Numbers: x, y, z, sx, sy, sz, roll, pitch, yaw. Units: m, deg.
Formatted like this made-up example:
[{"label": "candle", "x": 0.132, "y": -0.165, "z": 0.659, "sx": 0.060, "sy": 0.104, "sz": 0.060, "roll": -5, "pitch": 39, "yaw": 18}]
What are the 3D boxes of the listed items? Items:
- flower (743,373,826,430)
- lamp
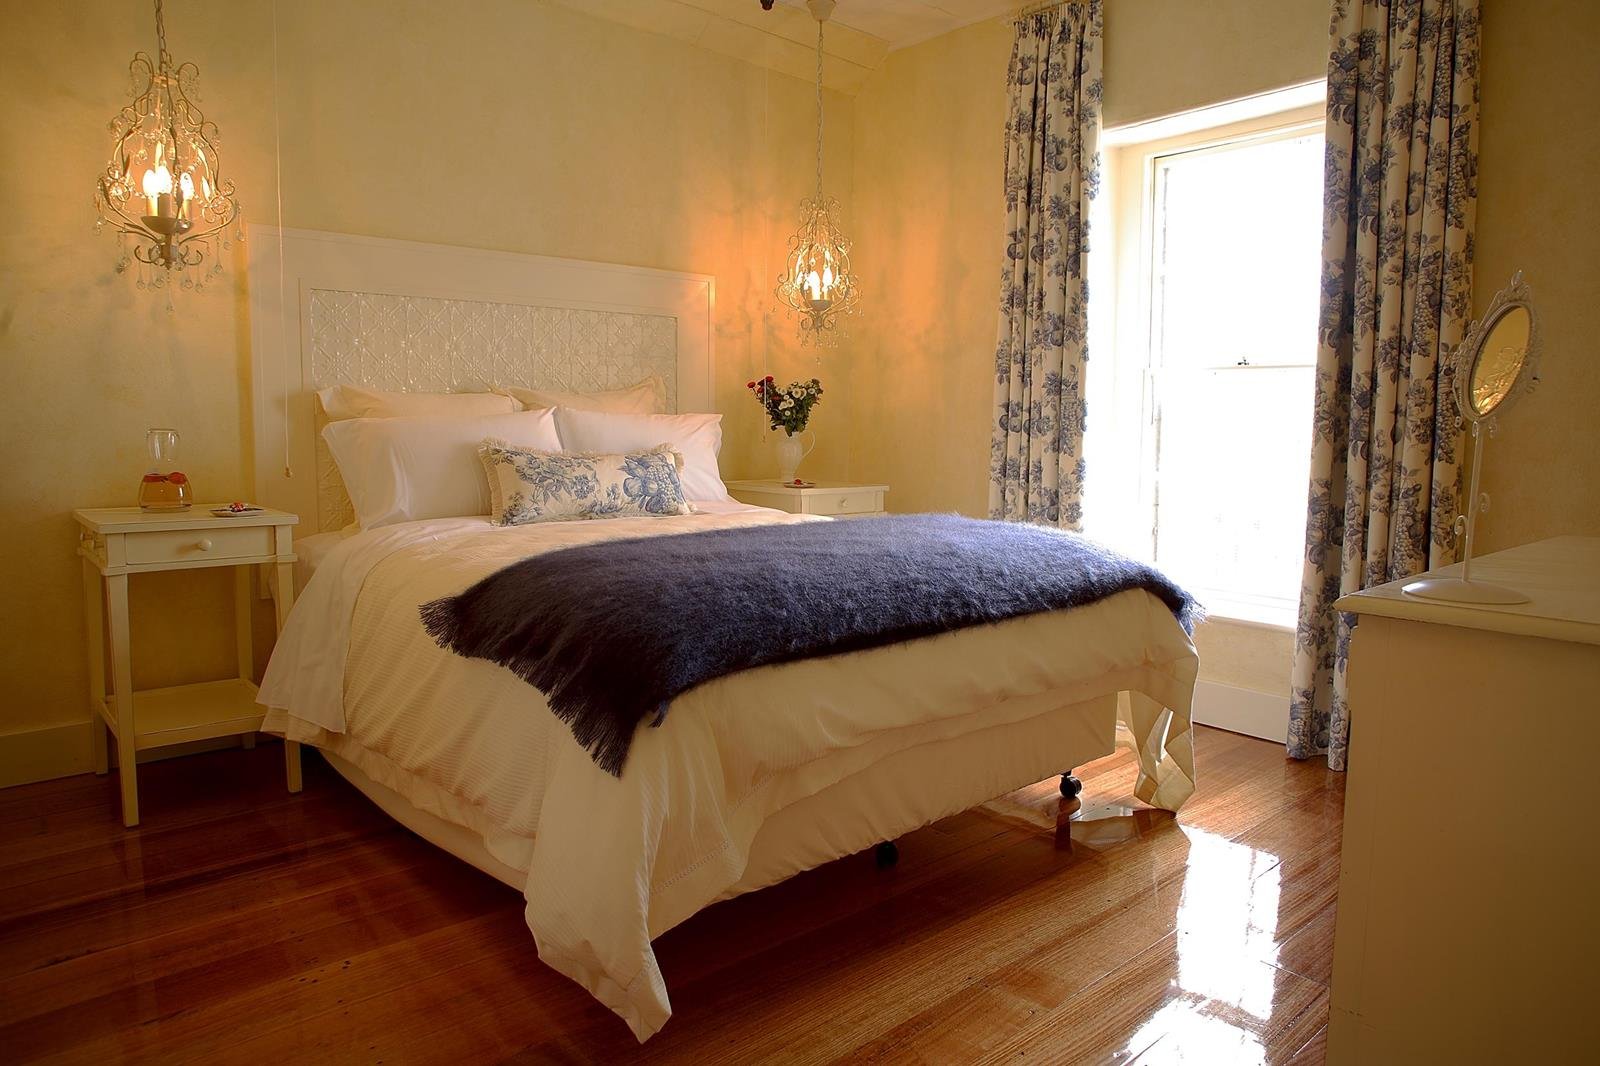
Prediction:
[{"label": "flower", "x": -0.098, "y": -0.631, "z": 5.665, "sx": 0.349, "sy": 0.221, "sz": 0.350, "roll": 10, "pitch": 12, "yaw": 42}, {"label": "lamp", "x": -2.264, "y": -1.353, "z": 4.113, "sx": 0.435, "sy": 0.855, "sz": 0.334, "roll": -8, "pitch": 12, "yaw": -28}]
